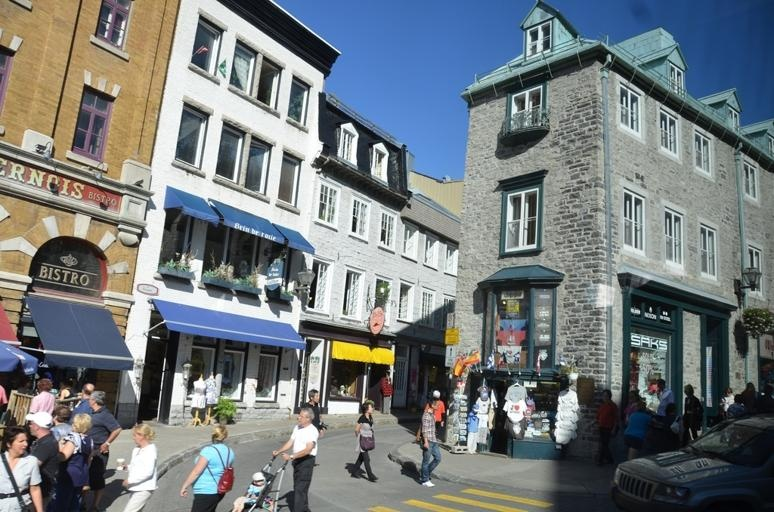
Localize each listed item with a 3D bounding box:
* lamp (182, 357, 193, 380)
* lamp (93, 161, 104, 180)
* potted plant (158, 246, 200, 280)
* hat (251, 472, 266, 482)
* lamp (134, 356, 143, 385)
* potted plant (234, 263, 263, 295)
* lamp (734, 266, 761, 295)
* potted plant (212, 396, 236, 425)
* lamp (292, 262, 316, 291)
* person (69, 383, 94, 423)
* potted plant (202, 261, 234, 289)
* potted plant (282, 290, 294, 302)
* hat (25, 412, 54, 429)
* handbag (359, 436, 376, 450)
[{"bbox_3d":[-8.535,4.866,25.413,0.371,0.839,0.758,4,-5,-17],"label":"lamp"},{"bbox_3d":[-10.881,-3.238,22.629,0.310,0.720,0.424,5,-5,-26],"label":"lamp"},{"bbox_3d":[-8.773,0.384,25.043,0.562,1.208,1.672,0,-5,26],"label":"potted plant"},{"bbox_3d":[-2.901,5.050,13.632,0.253,0.188,0.239,4,-5,-22],"label":"hat"},{"bbox_3d":[-9.822,4.514,23.485,0.364,1.020,0.440,5,-5,-25],"label":"lamp"},{"bbox_3d":[-6.433,1.012,27.367,0.738,1.278,1.370,-14,-11,44],"label":"potted plant"},{"bbox_3d":[17.158,1.166,28.359,1.161,1.604,1.296,6,-8,-34],"label":"lamp"},{"bbox_3d":[-7.075,6.756,26.051,0.865,1.151,0.689,4,-5,-16],"label":"potted plant"},{"bbox_3d":[-4.071,1.165,29.220,0.807,1.386,1.393,4,-16,-15],"label":"lamp"},{"bbox_3d":[-7.884,3.752,15.577,0.428,0.785,0.915,17,-1,3],"label":"person"},{"bbox_3d":[-7.459,0.900,26.375,0.996,0.892,1.335,-4,-7,44],"label":"potted plant"},{"bbox_3d":[-4.816,1.927,28.975,0.578,0.348,0.533,6,-9,-37],"label":"potted plant"},{"bbox_3d":[-7.461,3.494,12.752,0.485,0.248,0.350,26,3,13],"label":"hat"},{"bbox_3d":[-0.631,5.774,18.418,0.450,0.459,0.209,4,-5,-18],"label":"handbag"}]
